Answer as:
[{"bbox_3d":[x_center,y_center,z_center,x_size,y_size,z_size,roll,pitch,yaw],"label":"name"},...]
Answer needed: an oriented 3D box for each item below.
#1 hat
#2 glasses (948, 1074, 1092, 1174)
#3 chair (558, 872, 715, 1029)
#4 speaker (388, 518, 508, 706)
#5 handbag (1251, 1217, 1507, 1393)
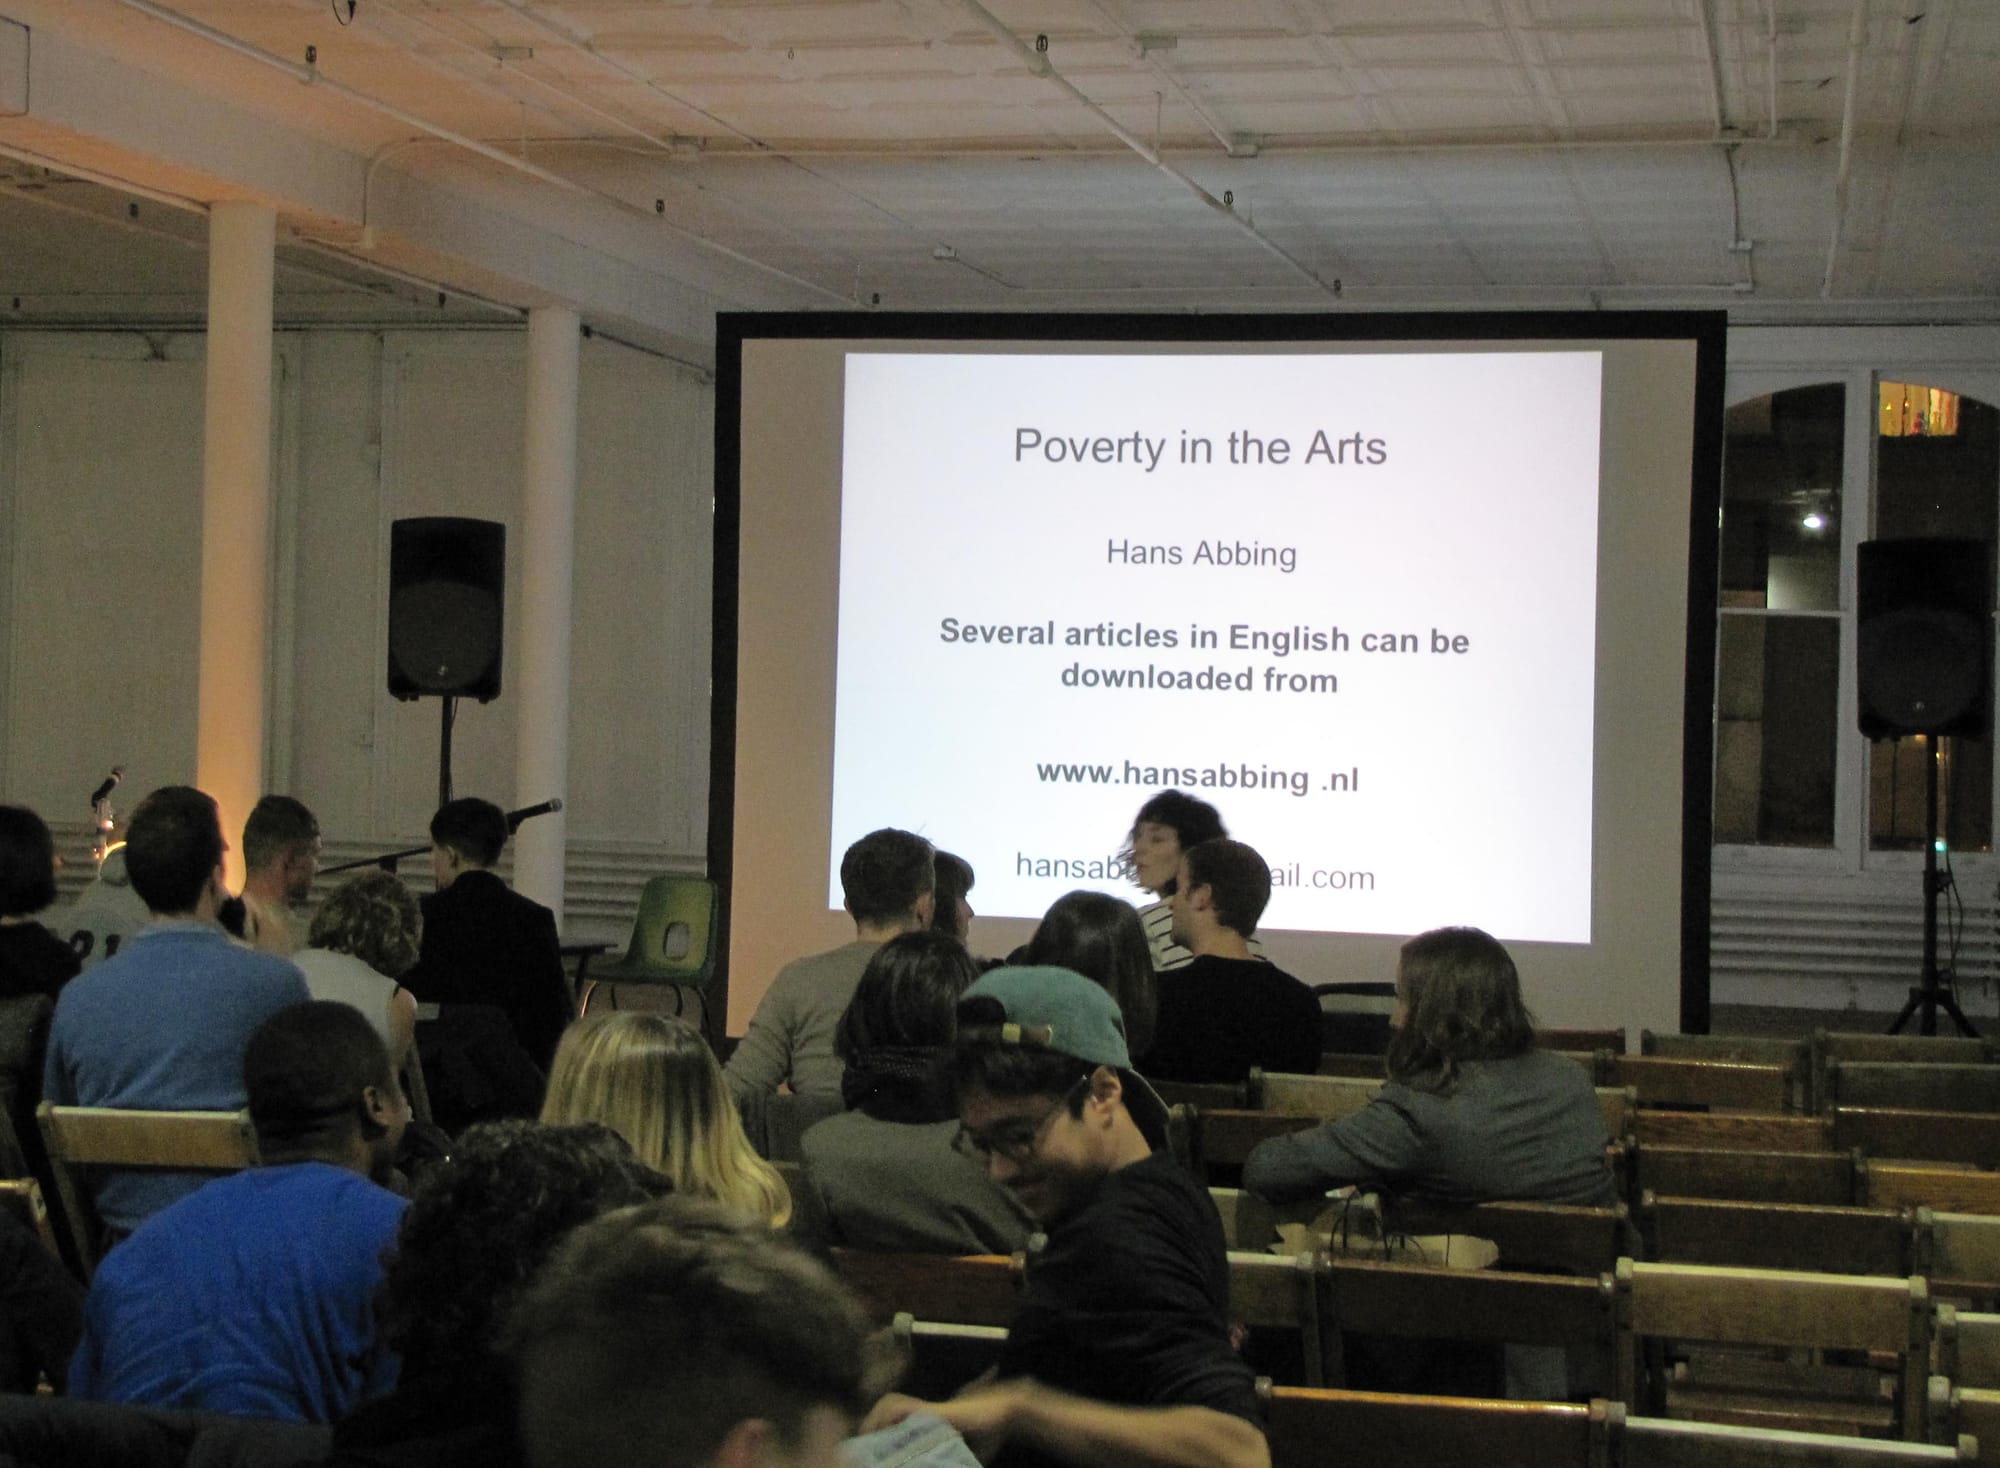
[{"bbox_3d":[0.104,0.507,3.687,0.413,0.211,0.291,14,-4,-11],"label":"hat"},{"bbox_3d":[0.056,0.645,3.608,0.170,0.058,0.180,-20,-9,33],"label":"glasses"},{"bbox_3d":[-1.966,1.359,11.444,0.701,1.142,0.726,-2,-3,28],"label":"chair"},{"bbox_3d":[-2.970,-0.670,11.341,0.561,0.964,0.304,1,-2,-18],"label":"speaker"},{"bbox_3d":[0.838,1.266,4.615,0.439,0.109,0.444,0,0,32],"label":"handbag"}]
